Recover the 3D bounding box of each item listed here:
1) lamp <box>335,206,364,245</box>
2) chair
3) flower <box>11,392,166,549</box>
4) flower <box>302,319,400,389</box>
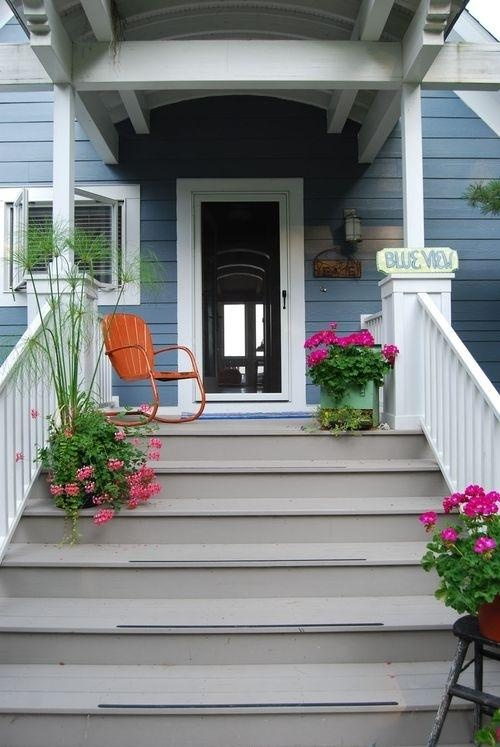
[{"bbox_3d":[0.719,-1.063,5.080,0.183,0.269,0.174,1,6,7],"label":"lamp"},{"bbox_3d":[-0.611,-0.024,4.249,0.557,0.684,0.443,1,0,39],"label":"chair"},{"bbox_3d":[-0.663,0.402,2.996,0.551,0.528,0.659,0,6,-5],"label":"flower"},{"bbox_3d":[0.498,-0.069,3.687,0.402,0.287,0.348,0,-1,-1],"label":"flower"}]
